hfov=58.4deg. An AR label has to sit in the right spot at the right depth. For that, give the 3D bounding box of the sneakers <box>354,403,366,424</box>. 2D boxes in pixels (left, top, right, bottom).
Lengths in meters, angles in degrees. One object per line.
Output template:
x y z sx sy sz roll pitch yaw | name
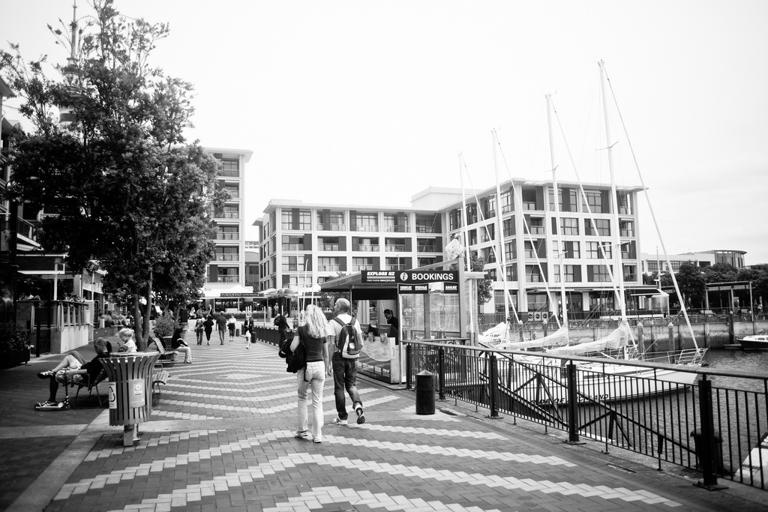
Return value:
-0.609 3.928 16.929 0.204 0.565 0.240 -5 30 -2 | sneakers

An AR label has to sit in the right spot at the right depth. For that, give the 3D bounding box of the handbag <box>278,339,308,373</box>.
-2.078 2.295 16.022 0.440 0.786 0.698 13 1 -17 | handbag

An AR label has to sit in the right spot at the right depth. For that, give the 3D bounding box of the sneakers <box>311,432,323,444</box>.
-1.527 4.125 15.674 0.222 0.219 0.303 -1 3 -5 | sneakers

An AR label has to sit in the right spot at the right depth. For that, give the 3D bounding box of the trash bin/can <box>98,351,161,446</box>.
-5.995 3.231 16.196 1.640 2.189 1.762 -1 -4 -9 | trash bin/can

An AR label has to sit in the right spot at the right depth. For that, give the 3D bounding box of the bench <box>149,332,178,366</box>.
-9.066 3.821 28.241 1.010 1.156 2.343 0 -4 -5 | bench

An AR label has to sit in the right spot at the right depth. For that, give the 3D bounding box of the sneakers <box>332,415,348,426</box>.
-1.108 4.060 17.069 0.284 0.201 0.564 -3 4 -43 | sneakers

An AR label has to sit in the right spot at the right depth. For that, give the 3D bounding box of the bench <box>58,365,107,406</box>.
-8.579 3.436 19.312 1.245 1.490 1.195 1 4 -15 | bench

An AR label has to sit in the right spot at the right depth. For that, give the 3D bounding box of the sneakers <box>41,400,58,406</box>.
-9.114 3.964 18.690 0.288 0.113 0.293 -1 3 -19 | sneakers

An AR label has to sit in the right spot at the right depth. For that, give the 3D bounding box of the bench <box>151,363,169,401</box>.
-6.707 3.805 20.497 0.542 0.687 1.583 0 7 -12 | bench

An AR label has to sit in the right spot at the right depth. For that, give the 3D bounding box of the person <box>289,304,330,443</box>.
-1.717 2.672 15.850 0.788 3.103 0.751 0 3 0 | person
